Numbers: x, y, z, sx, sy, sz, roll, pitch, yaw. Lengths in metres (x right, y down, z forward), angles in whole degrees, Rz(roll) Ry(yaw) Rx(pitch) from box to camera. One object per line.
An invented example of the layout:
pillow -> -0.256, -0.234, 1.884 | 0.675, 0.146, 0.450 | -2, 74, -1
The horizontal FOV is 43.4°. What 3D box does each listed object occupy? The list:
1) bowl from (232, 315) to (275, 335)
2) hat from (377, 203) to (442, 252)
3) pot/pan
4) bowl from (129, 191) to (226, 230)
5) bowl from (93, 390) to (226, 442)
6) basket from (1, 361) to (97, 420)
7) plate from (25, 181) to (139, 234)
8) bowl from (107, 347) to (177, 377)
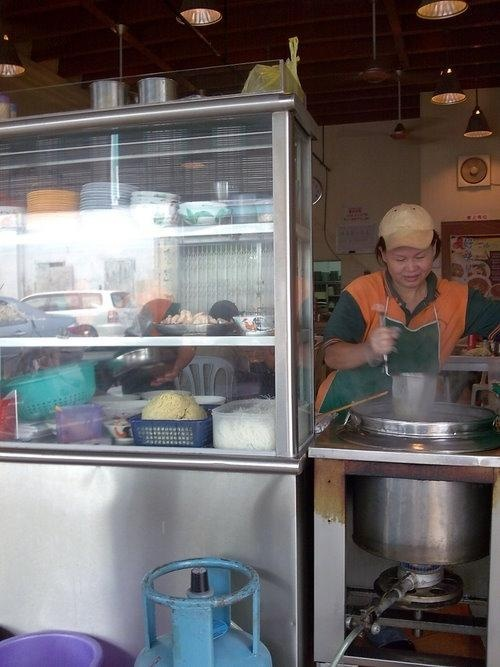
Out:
bowl -> 0.008, -0.024, 1.671 | 0.033, 0.052, 0.135 | -3, 3, -36
hat -> 0.495, -0.358, 1.999 | 0.181, 0.112, 0.228 | -1, 34, 16
pot/pan -> 0.443, 0.379, 1.631 | 0.384, 0.339, 0.372 | 0, 3, 23
bowl -> -0.210, -0.343, 1.756 | 0.182, 0.061, 0.135 | 1, 11, 13
bowl -> -0.297, 0.221, 1.826 | 0.281, 0.077, 0.183 | -1, 0, 14
basket -> -0.582, 0.166, 1.861 | 0.196, 0.078, 0.215 | -22, -6, 25
plate -> -0.487, -0.360, 1.809 | 0.192, 0.066, 0.214 | 0, 5, 6
bowl -> -0.307, 0.089, 1.841 | 0.167, 0.038, 0.090 | -7, -5, 13
